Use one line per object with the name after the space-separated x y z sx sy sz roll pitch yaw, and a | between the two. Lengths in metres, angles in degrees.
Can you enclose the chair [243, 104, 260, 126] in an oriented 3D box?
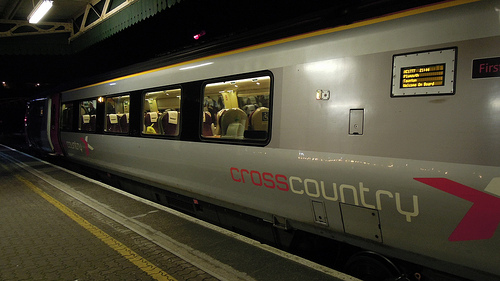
-0.023 -0.707 8.065 0.521 0.641 0.255 -6 -12 36 | chair
